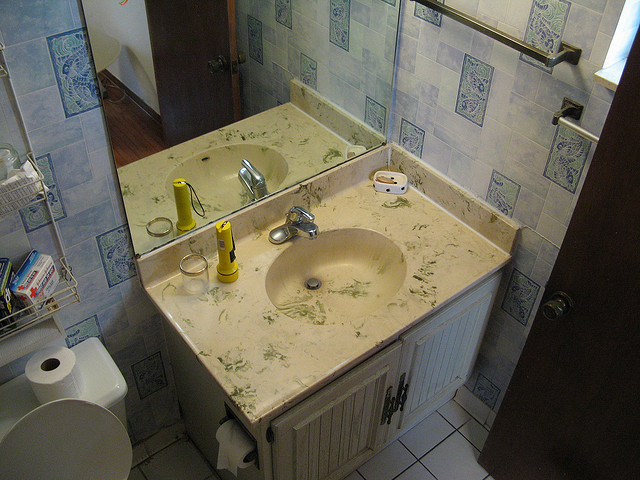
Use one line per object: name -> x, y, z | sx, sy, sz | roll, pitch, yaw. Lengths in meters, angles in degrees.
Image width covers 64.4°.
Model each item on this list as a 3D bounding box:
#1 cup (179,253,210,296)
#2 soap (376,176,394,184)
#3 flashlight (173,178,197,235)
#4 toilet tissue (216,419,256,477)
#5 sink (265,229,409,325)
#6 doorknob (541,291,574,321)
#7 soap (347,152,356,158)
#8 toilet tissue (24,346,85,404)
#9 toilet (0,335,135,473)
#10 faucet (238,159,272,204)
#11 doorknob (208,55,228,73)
cup -> -0.436, 0.144, 1.915 | 0.121, 0.150, 0.137 | 0, 52, -2
soap -> 0.290, -0.268, 2.243 | 0.063, 0.017, 0.034 | 7, 45, 17
flashlight -> -0.484, -0.130, 1.815 | 0.075, 0.202, 0.072 | -27, 49, -28
toilet tissue -> -0.293, 0.742, 1.755 | 0.143, 0.172, 0.108 | 30, 46, 35
sink -> 0.065, 0.135, 2.016 | 0.546, 0.209, 0.310 | -12, 39, -12
doorknob -> 0.816, 0.220, 1.766 | 0.085, 0.091, 0.081 | 38, 39, 19
soap -> 0.137, -0.371, 2.194 | 0.018, 0.005, 0.021 | -16, 69, -9
toilet tissue -> -0.878, 0.465, 1.706 | 0.150, 0.148, 0.171 | -26, 43, -28
toilet -> -0.838, 0.542, 1.653 | 0.276, 0.459, 0.249 | -30, 62, -34
faucet -> -0.257, -0.227, 1.966 | 0.060, 0.148, 0.191 | -26, 63, -17
doorknob -> -0.348, -0.611, 1.758 | 0.062, 0.070, 0.050 | 31, 44, 30
